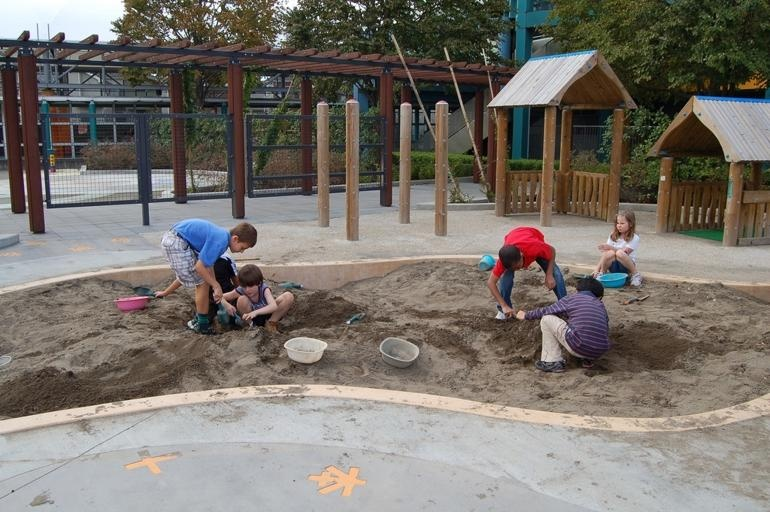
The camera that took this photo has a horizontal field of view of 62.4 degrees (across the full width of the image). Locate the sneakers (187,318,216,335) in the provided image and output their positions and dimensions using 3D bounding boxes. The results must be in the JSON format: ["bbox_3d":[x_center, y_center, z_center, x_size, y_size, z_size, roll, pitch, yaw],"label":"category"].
[{"bbox_3d":[-2.111,0.823,7.277,0.411,0.172,0.140,12,8,33],"label":"sneakers"}]

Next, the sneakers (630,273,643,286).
[{"bbox_3d":[3.440,0.314,8.692,0.156,0.176,0.159,3,11,13],"label":"sneakers"}]

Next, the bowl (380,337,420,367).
[{"bbox_3d":[0.154,1.036,6.854,0.438,0.220,0.495,4,10,18],"label":"bowl"}]

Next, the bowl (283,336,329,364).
[{"bbox_3d":[-0.828,0.984,6.623,0.427,0.207,0.406,1,10,0],"label":"bowl"}]

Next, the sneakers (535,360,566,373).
[{"bbox_3d":[1.753,1.151,6.738,0.306,0.137,0.117,4,3,18],"label":"sneakers"}]

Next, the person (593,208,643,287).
[{"bbox_3d":[3.207,-0.149,8.821,0.663,0.939,0.766,2,11,22],"label":"person"}]

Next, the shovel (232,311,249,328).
[{"bbox_3d":[-1.645,0.726,7.229,0.176,0.065,0.175,22,-3,1],"label":"shovel"}]

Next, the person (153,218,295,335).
[{"bbox_3d":[-1.859,0.215,7.251,1.281,1.253,0.852,1,10,-2],"label":"person"}]
